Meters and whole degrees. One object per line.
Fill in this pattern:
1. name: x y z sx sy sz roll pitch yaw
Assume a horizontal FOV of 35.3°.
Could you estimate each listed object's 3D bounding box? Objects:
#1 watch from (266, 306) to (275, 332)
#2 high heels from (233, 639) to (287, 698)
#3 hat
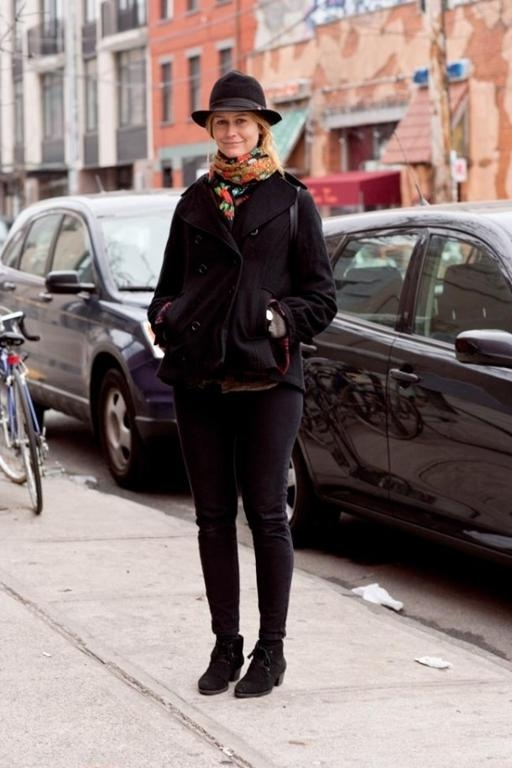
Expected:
1. watch: 0.035 -0.168 2.016 0.018 0.042 0.032 2 3 1
2. high heels: 0.027 0.765 2.149 0.074 0.099 0.199 1 -2 30
3. hat: -0.086 -0.769 2.205 0.247 0.116 0.260 -5 0 -8
